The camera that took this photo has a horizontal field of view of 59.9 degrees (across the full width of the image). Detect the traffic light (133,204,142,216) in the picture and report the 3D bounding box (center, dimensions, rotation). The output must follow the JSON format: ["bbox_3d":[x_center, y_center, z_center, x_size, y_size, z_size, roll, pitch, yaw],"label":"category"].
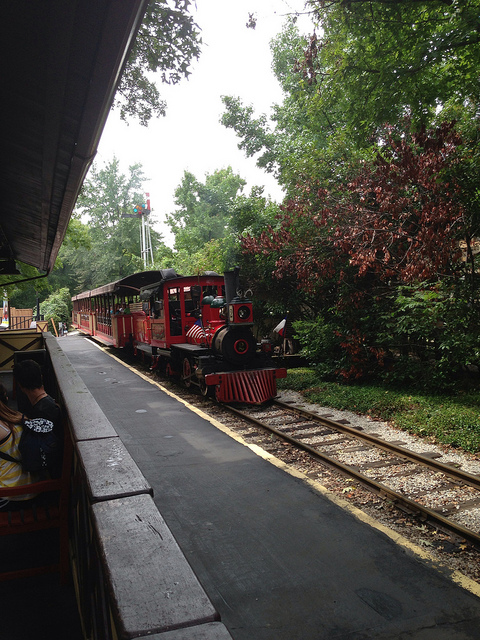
[{"bbox_3d":[-8.304,-8.992,33.822,0.617,0.668,1.820,-6,30,-17],"label":"traffic light"}]

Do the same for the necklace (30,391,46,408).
[{"bbox_3d":[-1.450,0.556,2.985,0.095,0.092,0.133,-6,5,-30],"label":"necklace"}]

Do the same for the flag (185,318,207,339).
[{"bbox_3d":[-1.157,0.222,10.755,0.420,0.574,0.172,2,-10,35],"label":"flag"}]

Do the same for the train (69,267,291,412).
[{"bbox_3d":[-2.759,0.104,14.426,2.742,2.693,12.336,-5,4,-23],"label":"train"}]
